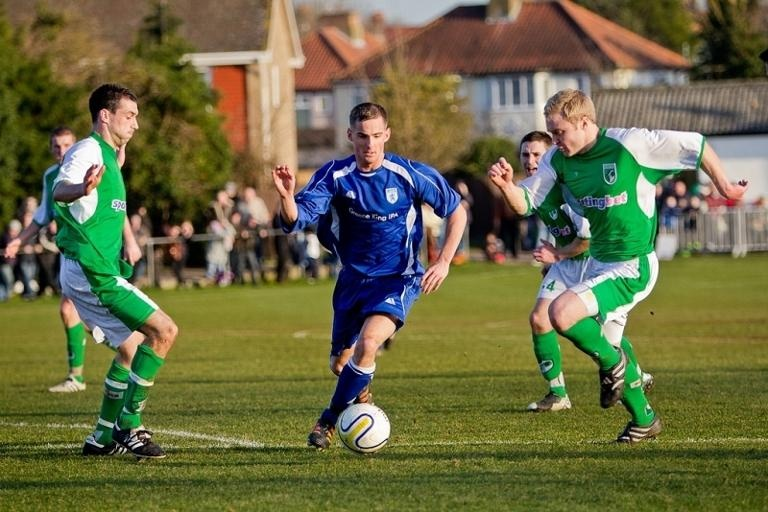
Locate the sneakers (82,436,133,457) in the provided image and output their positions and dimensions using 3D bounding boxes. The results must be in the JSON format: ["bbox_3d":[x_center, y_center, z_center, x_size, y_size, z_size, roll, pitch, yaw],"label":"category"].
[{"bbox_3d":[-3.448,2.319,17.027,0.597,0.262,0.235,2,-1,-10],"label":"sneakers"}]

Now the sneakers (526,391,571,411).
[{"bbox_3d":[2.214,1.879,18.097,0.638,0.271,0.230,0,-5,-15],"label":"sneakers"}]

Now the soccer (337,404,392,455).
[{"bbox_3d":[-0.229,2.056,16.832,0.575,0.457,0.583,18,31,4],"label":"soccer"}]

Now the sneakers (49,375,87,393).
[{"bbox_3d":[-4.462,1.782,19.405,0.598,0.263,0.206,1,1,-7],"label":"sneakers"}]

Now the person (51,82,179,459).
[{"bbox_3d":[-3.379,0.172,16.893,1.342,4.462,0.924,-2,10,-1],"label":"person"}]

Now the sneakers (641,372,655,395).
[{"bbox_3d":[3.507,1.639,18.177,0.231,0.177,0.481,12,7,6],"label":"sneakers"}]

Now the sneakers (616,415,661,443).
[{"bbox_3d":[3.186,2.123,17.072,0.635,0.259,0.228,-9,-2,-17],"label":"sneakers"}]
